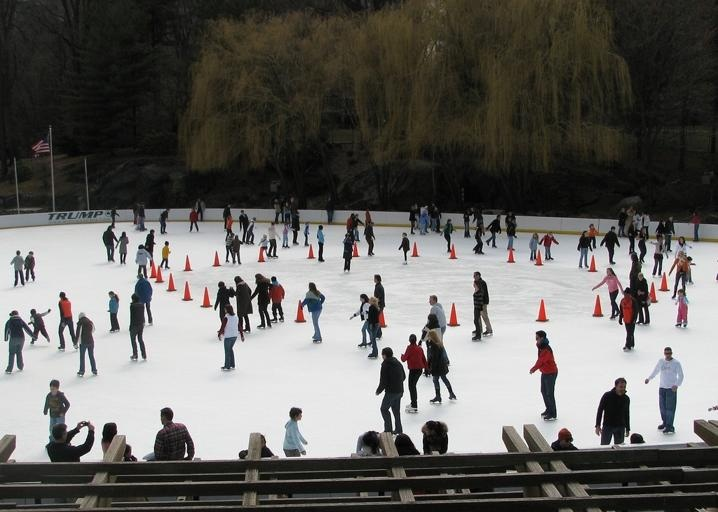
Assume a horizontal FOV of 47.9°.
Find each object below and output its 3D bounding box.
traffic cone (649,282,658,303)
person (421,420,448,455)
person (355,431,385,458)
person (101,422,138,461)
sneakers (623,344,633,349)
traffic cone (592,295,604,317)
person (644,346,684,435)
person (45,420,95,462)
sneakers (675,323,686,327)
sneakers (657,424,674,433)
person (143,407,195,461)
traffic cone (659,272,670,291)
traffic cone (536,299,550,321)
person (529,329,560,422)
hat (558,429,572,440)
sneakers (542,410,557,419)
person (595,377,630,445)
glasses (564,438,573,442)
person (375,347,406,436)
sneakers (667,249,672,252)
[{"bbox_3d":[9.325,1.179,25.516,0.322,0.496,0.331,-27,28,-36],"label":"traffic cone"},{"bbox_3d":[1.359,3.146,14.235,0.412,0.670,1.276,3,1,8],"label":"person"},{"bbox_3d":[0.173,3.206,13.658,0.375,0.382,0.773,-1,5,-4],"label":"person"},{"bbox_3d":[-4.323,3.376,14.668,0.660,0.831,0.347,-4,22,-28],"label":"person"},{"bbox_3d":[7.015,2.377,20.947,0.243,0.167,0.320,0,5,18],"label":"sneakers"},{"bbox_3d":[7.326,1.553,24.661,0.408,0.761,0.397,-11,12,-44],"label":"traffic cone"},{"bbox_3d":[6.371,2.770,16.784,0.626,1.819,0.681,0,4,15],"label":"person"},{"bbox_3d":[-5.122,3.309,14.498,0.719,0.736,1.208,-1,5,1],"label":"person"},{"bbox_3d":[9.039,1.951,22.606,0.246,0.112,0.098,2,8,2],"label":"sneakers"},{"bbox_3d":[6.412,3.595,16.834,0.262,0.292,0.142,0,8,3],"label":"sneakers"},{"bbox_3d":[-3.365,3.325,14.338,0.802,1.219,0.736,-5,-2,5],"label":"person"},{"bbox_3d":[10.388,0.880,27.382,0.375,0.559,0.376,-18,22,-32],"label":"traffic cone"},{"bbox_3d":[5.541,1.661,24.259,0.364,0.705,0.368,-13,16,-28],"label":"traffic cone"},{"bbox_3d":[3.993,2.586,17.298,0.508,1.978,1.166,0,4,15],"label":"person"},{"bbox_3d":[3.559,3.107,14.026,0.179,0.223,0.244,0,-8,-37],"label":"hat"},{"bbox_3d":[4.119,3.461,17.405,0.325,0.252,0.119,2,8,3],"label":"sneakers"},{"bbox_3d":[4.951,3.039,15.688,0.597,1.382,0.817,0,4,17],"label":"person"},{"bbox_3d":[3.604,3.189,13.897,0.104,0.084,0.152,1,-2,1],"label":"glasses"},{"bbox_3d":[0.673,2.787,16.927,0.562,1.857,1.259,-1,4,1],"label":"person"},{"bbox_3d":[12.480,-0.197,32.380,0.110,0.057,0.167,2,15,13],"label":"sneakers"}]
